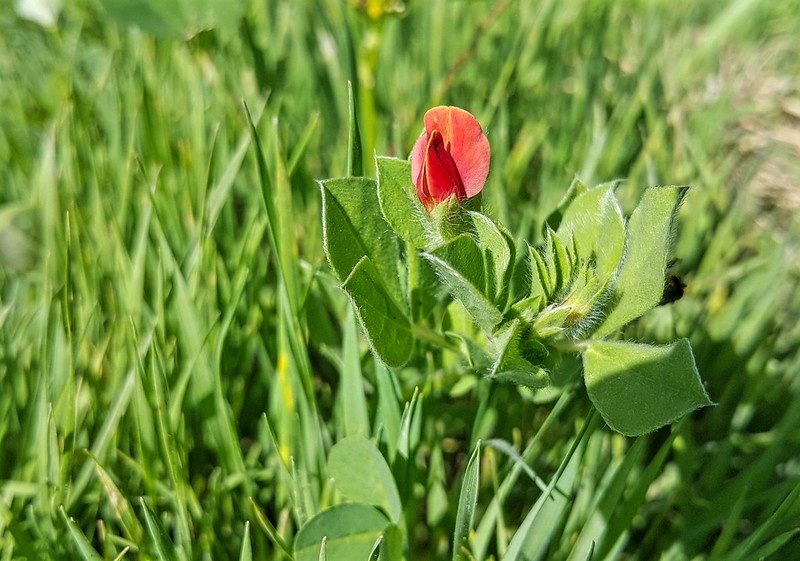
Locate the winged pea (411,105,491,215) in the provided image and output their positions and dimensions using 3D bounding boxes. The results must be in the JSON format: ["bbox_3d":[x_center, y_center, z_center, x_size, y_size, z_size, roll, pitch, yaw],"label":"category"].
[{"bbox_3d":[0.077,-0.188,1.306,0.096,0.173,0.061,10,-1,19],"label":"winged pea"}]
